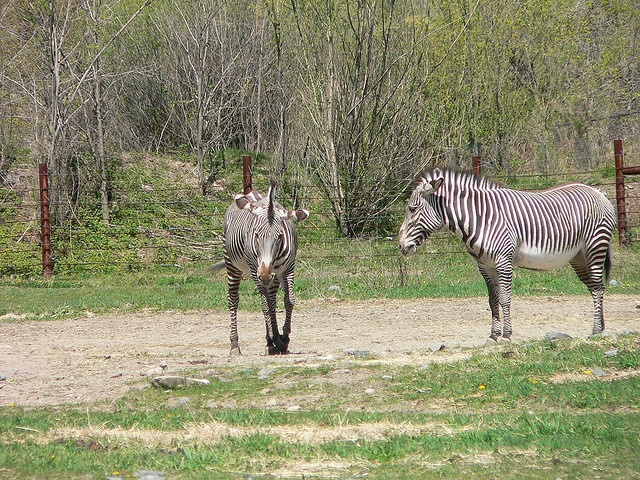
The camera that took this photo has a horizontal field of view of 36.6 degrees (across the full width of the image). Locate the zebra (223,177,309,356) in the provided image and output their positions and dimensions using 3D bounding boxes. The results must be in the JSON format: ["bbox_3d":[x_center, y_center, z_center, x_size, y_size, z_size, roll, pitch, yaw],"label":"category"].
[{"bbox_3d":[-1.356,0.611,21.959,1.279,3.882,1.953,0,-1,-42],"label":"zebra"}]
